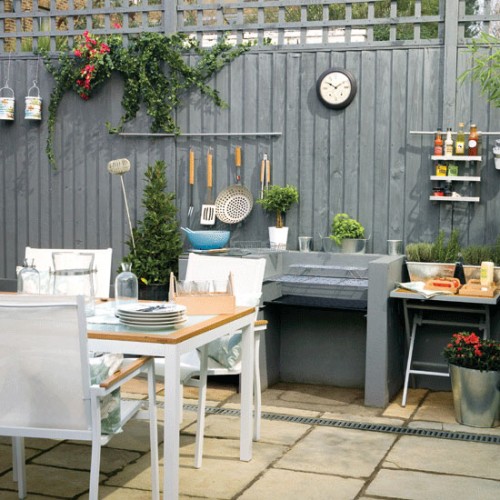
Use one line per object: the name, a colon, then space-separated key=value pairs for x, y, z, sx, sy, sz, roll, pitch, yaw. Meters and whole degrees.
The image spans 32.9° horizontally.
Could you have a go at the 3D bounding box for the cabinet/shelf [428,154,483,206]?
cabinet/shelf: x=1.485 y=-0.503 z=6.017 sx=0.309 sy=0.326 sz=0.112 roll=0 pitch=-1 yaw=4

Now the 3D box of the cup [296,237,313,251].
cup: x=0.412 y=-0.048 z=6.410 sx=0.096 sy=0.090 sz=0.096 roll=0 pitch=-4 yaw=0

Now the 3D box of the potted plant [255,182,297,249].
potted plant: x=0.233 y=-0.263 z=6.491 sx=0.270 sy=0.502 sz=0.336 roll=4 pitch=0 yaw=24

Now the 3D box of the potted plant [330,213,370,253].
potted plant: x=0.731 y=-0.123 z=6.226 sx=0.247 sy=0.280 sz=0.261 roll=3 pitch=9 yaw=19

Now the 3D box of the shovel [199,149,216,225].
shovel: x=-0.335 y=-0.483 z=6.666 sx=0.124 sy=0.599 sz=0.157 roll=0 pitch=8 yaw=-4

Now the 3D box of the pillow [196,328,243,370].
pillow: x=-0.179 y=0.564 z=4.756 sx=0.208 sy=0.187 sz=0.074 roll=-6 pitch=-10 yaw=27

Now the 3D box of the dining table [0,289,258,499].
dining table: x=-0.437 y=0.488 z=3.979 sx=0.889 sy=0.815 sz=0.980 roll=0 pitch=0 yaw=15

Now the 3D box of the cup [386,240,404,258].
cup: x=1.055 y=-0.009 z=6.093 sx=0.098 sy=0.092 sz=0.112 roll=0 pitch=-2 yaw=2

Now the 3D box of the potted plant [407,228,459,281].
potted plant: x=1.277 y=0.021 z=5.892 sx=0.332 sy=0.276 sz=0.311 roll=-5 pitch=3 yaw=-2
